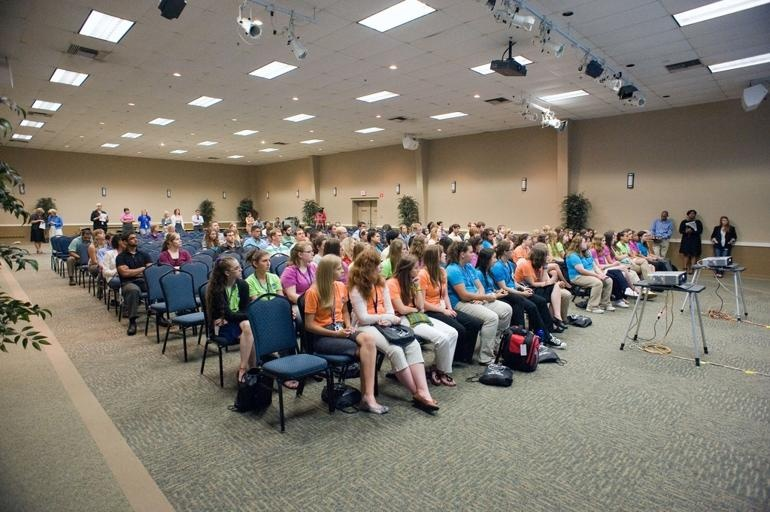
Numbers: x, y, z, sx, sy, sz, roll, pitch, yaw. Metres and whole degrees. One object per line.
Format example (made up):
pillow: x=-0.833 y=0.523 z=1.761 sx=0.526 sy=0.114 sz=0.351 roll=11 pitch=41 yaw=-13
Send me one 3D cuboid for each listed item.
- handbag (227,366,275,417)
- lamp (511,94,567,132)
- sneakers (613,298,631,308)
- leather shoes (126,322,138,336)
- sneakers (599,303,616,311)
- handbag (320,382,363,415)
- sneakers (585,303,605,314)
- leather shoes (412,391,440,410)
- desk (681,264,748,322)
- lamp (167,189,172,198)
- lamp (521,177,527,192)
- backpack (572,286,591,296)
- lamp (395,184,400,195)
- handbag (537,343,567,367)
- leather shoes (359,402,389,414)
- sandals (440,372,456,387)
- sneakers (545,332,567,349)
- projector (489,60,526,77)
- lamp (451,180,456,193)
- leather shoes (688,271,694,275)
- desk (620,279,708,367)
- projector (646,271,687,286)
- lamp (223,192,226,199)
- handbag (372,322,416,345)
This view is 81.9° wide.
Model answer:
handbag: x=-1.706 y=1.705 z=5.772 sx=0.510 sy=0.551 sz=0.304 roll=4 pitch=40 yaw=-12
lamp: x=4.861 y=-4.601 z=14.003 sx=1.699 sy=0.679 sz=1.150 roll=15 pitch=-6 yaw=-32
sneakers: x=5.040 y=1.028 z=9.535 sx=0.144 sy=0.170 sz=0.405 roll=-1 pitch=-4 yaw=-25
leather shoes: x=-4.531 y=1.305 z=7.927 sx=0.123 sy=0.138 sz=0.369 roll=2 pitch=-2 yaw=-29
sneakers: x=4.659 y=1.077 z=9.294 sx=0.367 sy=0.168 sz=0.127 roll=-2 pitch=-1 yaw=26
handbag: x=-0.540 y=1.870 z=5.850 sx=0.305 sy=0.144 sz=0.409 roll=-3 pitch=6 yaw=-36
sneakers: x=4.281 y=1.083 z=9.132 sx=0.142 sy=0.190 sz=0.422 roll=1 pitch=-1 yaw=-43
leather shoes: x=0.515 y=1.889 z=5.712 sx=0.410 sy=0.179 sz=0.157 roll=10 pitch=-12 yaw=39
desk: x=6.990 y=0.812 z=9.368 sx=0.824 sy=0.965 sz=0.944 roll=-8 pitch=9 yaw=-34
lamp: x=-12.568 y=-3.683 z=25.867 sx=0.313 sy=0.605 sz=0.314 roll=2 pitch=-2 yaw=-25
lamp: x=5.364 y=-2.790 z=17.028 sx=0.256 sy=0.522 sz=0.068 roll=0 pitch=5 yaw=24
backpack: x=4.203 y=0.754 z=9.526 sx=0.271 sy=0.139 sz=0.355 roll=2 pitch=-6 yaw=-14
lamp: x=0.639 y=-3.203 z=21.055 sx=0.116 sy=0.411 sz=0.276 roll=0 pitch=5 yaw=-25
handbag: x=2.526 y=1.516 z=6.792 sx=0.267 sy=0.129 sz=0.351 roll=-4 pitch=4 yaw=-34
leather shoes: x=-0.152 y=1.949 z=5.658 sx=0.281 sy=0.120 sz=0.162 roll=-2 pitch=-7 yaw=16
sandals: x=0.890 y=1.747 z=6.207 sx=0.127 sy=0.085 sz=0.221 roll=-2 pitch=-2 yaw=-35
sneakers: x=2.743 y=1.394 z=7.353 sx=0.516 sy=0.222 sz=0.181 roll=4 pitch=8 yaw=22
projector: x=2.499 y=-3.953 z=9.262 sx=0.529 sy=0.201 sz=0.543 roll=4 pitch=-2 yaw=37
lamp: x=2.972 y=-3.012 z=19.092 sx=0.263 sy=0.491 sz=0.075 roll=1 pitch=5 yaw=29
leather shoes: x=9.410 y=0.508 z=13.649 sx=0.075 sy=0.101 sz=0.251 roll=-8 pitch=-14 yaw=30
desk: x=4.548 y=1.013 z=7.175 sx=1.006 sy=1.056 sz=1.158 roll=-3 pitch=6 yaw=-38
projector: x=4.253 y=0.342 z=6.772 sx=0.324 sy=0.132 sz=0.307 roll=-2 pitch=3 yaw=-35
lamp: x=-10.210 y=-3.939 z=28.306 sx=0.072 sy=0.436 sz=0.277 roll=1 pitch=5 yaw=28
handbag: x=0.130 y=0.999 z=5.715 sx=0.354 sy=0.136 sz=0.282 roll=12 pitch=9 yaw=29
